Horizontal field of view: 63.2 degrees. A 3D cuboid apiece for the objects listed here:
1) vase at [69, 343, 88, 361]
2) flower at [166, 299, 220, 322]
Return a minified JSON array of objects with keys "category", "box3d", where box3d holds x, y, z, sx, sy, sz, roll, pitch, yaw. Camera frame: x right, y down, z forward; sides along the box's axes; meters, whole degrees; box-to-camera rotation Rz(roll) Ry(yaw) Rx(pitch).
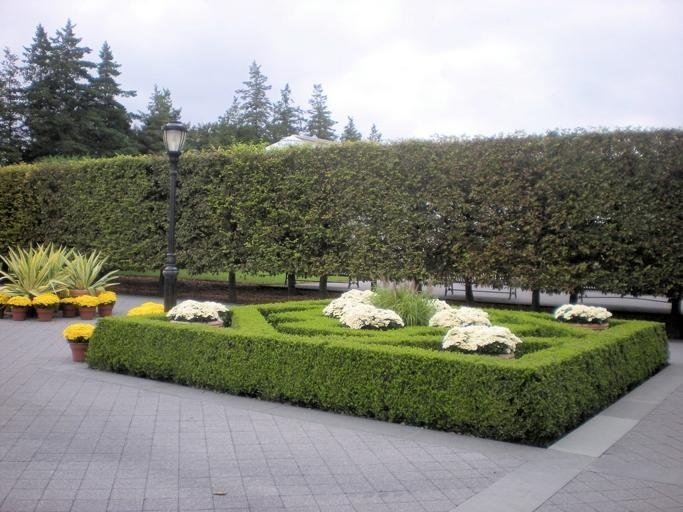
[{"category":"vase","box3d":[-4.642,1.672,9.822,0.378,0.300,0.380,-2,-8,41]},{"category":"flower","box3d":[-2.648,0.988,9.910,0.913,0.314,0.409,-1,4,-10]}]
